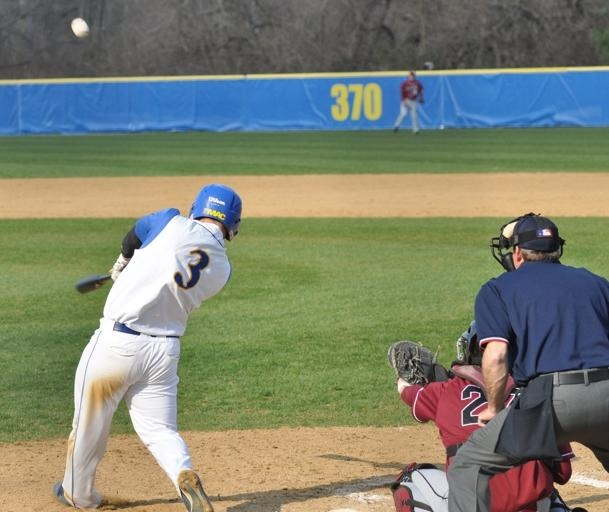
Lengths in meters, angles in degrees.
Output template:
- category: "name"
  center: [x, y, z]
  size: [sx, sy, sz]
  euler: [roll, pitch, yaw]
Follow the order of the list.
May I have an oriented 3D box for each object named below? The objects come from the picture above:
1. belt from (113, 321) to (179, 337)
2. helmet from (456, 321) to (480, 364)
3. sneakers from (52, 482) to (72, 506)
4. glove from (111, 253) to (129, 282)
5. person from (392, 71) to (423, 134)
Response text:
- category: "belt"
  center: [-2.534, 1.200, 25.593]
  size: [0.923, 0.218, 0.055]
  euler: [3, 5, -5]
- category: "helmet"
  center: [2.641, 1.435, 25.861]
  size: [0.447, 0.624, 0.597]
  euler: [0, -4, 8]
- category: "sneakers"
  center: [-3.858, 3.863, 25.843]
  size: [0.268, 0.376, 0.141]
  euler: [-8, 15, 25]
- category: "glove"
  center: [-2.931, 0.207, 25.901]
  size: [0.147, 0.405, 0.294]
  euler: [22, -13, -34]
- category: "person"
  center: [2.647, -3.863, 40.786]
  size: [0.716, 1.569, 2.307]
  euler: [3, 5, 3]
